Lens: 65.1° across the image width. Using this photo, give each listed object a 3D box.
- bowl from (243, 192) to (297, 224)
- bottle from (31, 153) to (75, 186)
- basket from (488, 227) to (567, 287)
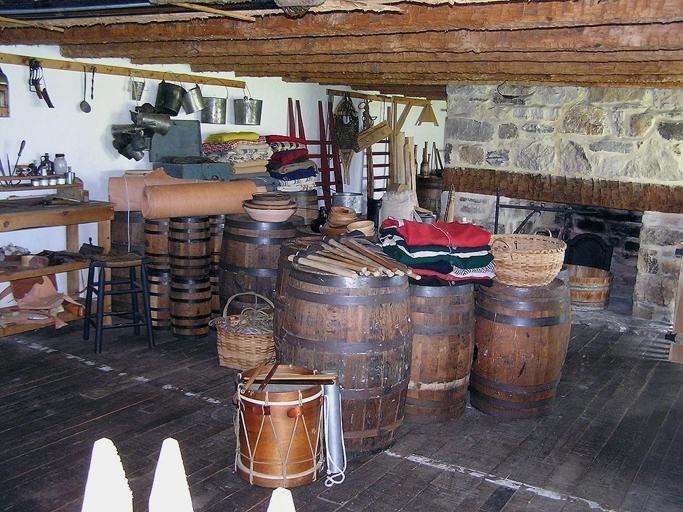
[{"bbox_3d":[-0.595,-0.409,4.366,0.352,0.133,0.341,1,7,0],"label":"bowl"},{"bbox_3d":[-2.733,-0.799,5.056,0.451,0.327,0.254,-3,10,-31],"label":"bottle"},{"bbox_3d":[1.169,0.021,3.586,0.502,0.210,0.513,10,11,37],"label":"basket"}]
